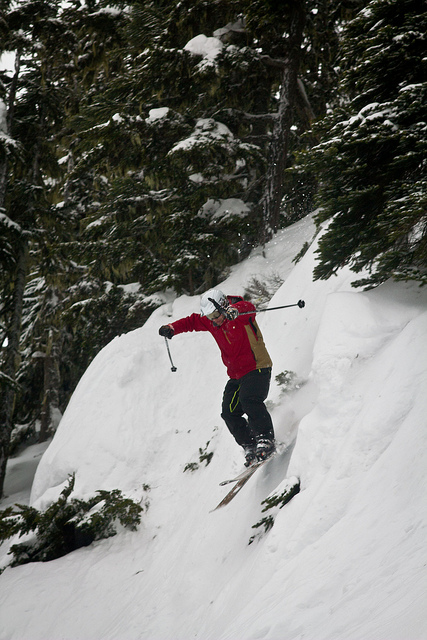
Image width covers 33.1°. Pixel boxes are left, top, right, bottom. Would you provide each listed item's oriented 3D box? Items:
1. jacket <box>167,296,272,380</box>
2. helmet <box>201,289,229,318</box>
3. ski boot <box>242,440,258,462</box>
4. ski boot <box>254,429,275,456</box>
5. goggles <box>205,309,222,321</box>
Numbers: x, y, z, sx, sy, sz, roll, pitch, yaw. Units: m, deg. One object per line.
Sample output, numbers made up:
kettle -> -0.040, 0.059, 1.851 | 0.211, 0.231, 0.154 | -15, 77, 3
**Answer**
jacket -> 0.153, 0.203, 8.427 | 0.792, 1.032, 1.282 | -17, -1, -43
helmet -> 0.019, -0.211, 8.209 | 0.250, 0.289, 0.321 | -6, 17, 17
ski boot -> 0.415, 1.517, 8.217 | 0.177, 0.246, 0.235 | -1, 51, -2
ski boot -> 0.568, 1.352, 7.883 | 0.200, 0.230, 0.255 | -4, 7, 4
goggles -> 0.017, -0.069, 8.147 | 0.106, 0.119, 0.093 | 23, 18, -6
